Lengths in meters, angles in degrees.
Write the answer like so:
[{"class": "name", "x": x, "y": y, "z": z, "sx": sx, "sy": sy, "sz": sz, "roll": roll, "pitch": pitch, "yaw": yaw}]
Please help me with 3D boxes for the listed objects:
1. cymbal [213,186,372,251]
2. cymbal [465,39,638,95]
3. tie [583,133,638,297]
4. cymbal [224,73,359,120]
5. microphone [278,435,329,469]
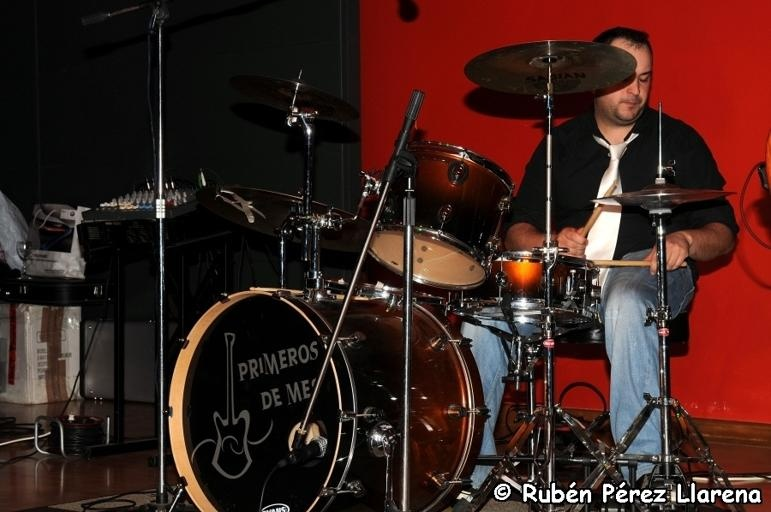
[{"class": "cymbal", "x": -0.533, "y": -0.213, "z": 4.438, "sx": 0.480, "sy": 0.043, "sz": 0.449, "roll": 1, "pitch": -21, "yaw": 33}, {"class": "cymbal", "x": 0.736, "y": -0.804, "z": 4.278, "sx": 0.759, "sy": 0.174, "sz": 0.459, "roll": 0, "pitch": -13, "yaw": 12}, {"class": "tie", "x": 1.089, "y": -0.210, "z": 4.678, "sx": 0.264, "sy": 0.827, "sz": 0.063, "roll": -7, "pitch": 27, "yaw": -14}, {"class": "cymbal", "x": -0.461, "y": -0.776, "z": 4.601, "sx": 0.370, "sy": 0.078, "sz": 0.338, "roll": 14, "pitch": -13, "yaw": -2}, {"class": "microphone", "x": -0.335, "y": 0.810, "z": 3.898, "sx": 0.190, "sy": 0.134, "sz": 0.160, "roll": 4, "pitch": -13, "yaw": -4}]
